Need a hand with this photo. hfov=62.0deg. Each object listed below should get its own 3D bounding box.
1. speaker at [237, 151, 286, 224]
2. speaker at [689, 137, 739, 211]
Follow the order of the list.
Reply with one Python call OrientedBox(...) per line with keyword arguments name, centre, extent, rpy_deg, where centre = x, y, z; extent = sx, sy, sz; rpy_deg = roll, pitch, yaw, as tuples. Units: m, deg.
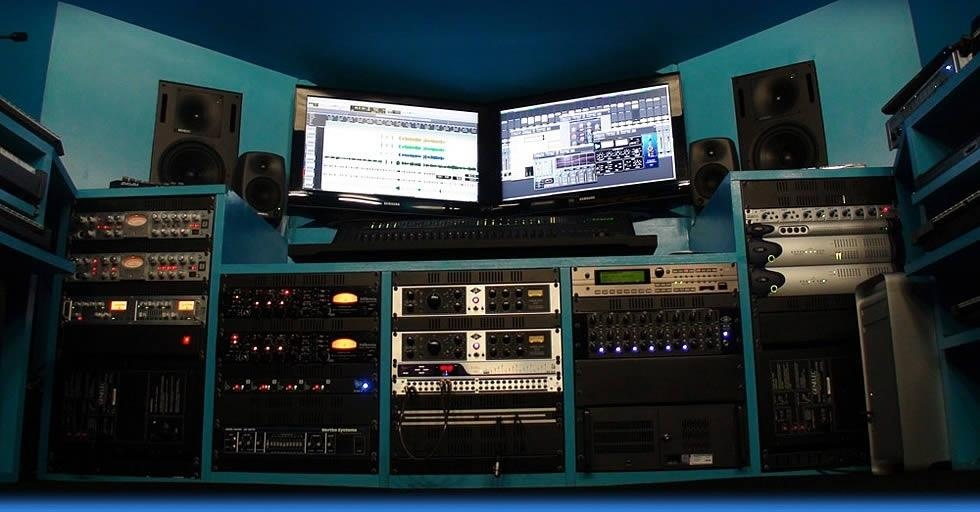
OrientedBox(name="speaker", centre=(-1.383, -0.456, 5.212), extent=(0.373, 0.435, 0.325), rpy_deg=(1, 11, 0))
OrientedBox(name="speaker", centre=(1.458, -0.536, 5.132), extent=(0.326, 0.447, 0.311), rpy_deg=(-6, 3, 42))
